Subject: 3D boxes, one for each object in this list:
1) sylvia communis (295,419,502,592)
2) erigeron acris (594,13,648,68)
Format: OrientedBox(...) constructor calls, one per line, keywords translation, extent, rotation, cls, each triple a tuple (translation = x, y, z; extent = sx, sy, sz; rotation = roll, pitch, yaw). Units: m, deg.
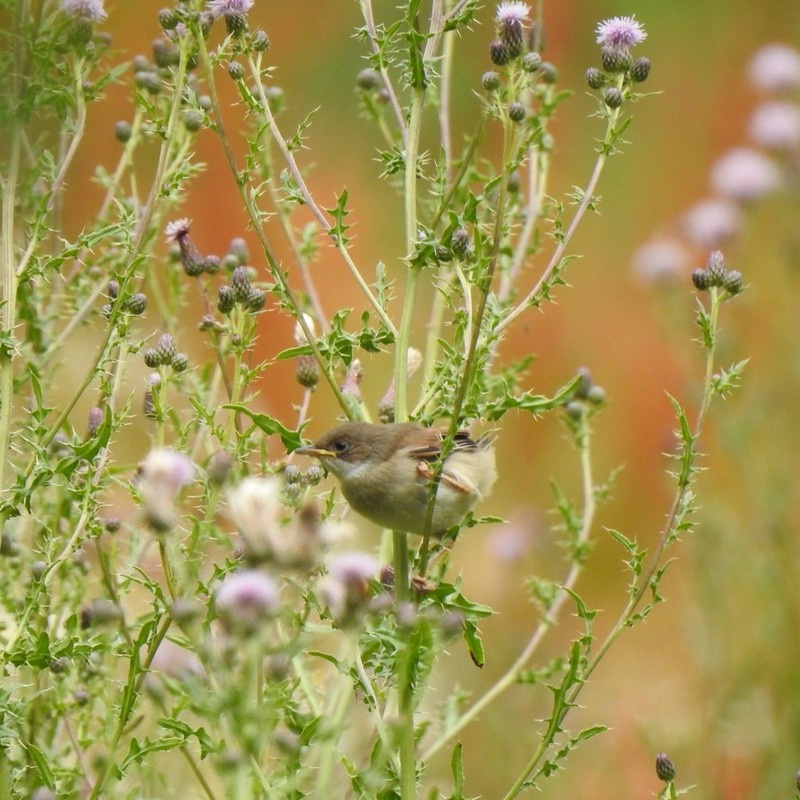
OrientedBox(translation=(0.049, 0.249, 3.426), extent=(0.651, 0.536, 0.382), rotation=(-15, 0, -28), cls="sylvia communis")
OrientedBox(translation=(0.567, -0.924, 3.066), extent=(0.129, 0.144, 0.176), rotation=(3, -82, 11), cls="erigeron acris")
